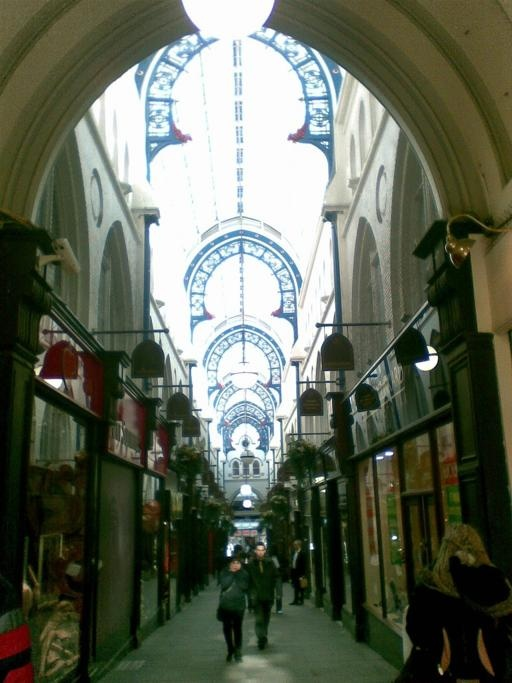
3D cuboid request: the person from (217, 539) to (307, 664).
[{"bbox_3d":[-0.140,4.354,10.399,0.719,1.789,1.982,-4,-18,11],"label":"person"}]
